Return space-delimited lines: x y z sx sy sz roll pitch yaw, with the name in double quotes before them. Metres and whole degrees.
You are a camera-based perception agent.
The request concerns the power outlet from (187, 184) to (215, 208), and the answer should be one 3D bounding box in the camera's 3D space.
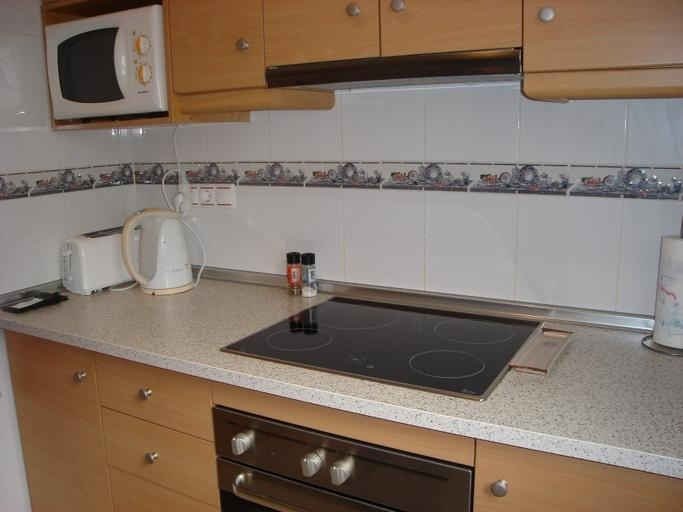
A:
"power outlet" -0.605 -0.260 2.163 0.135 0.101 0.033 6 15 26
